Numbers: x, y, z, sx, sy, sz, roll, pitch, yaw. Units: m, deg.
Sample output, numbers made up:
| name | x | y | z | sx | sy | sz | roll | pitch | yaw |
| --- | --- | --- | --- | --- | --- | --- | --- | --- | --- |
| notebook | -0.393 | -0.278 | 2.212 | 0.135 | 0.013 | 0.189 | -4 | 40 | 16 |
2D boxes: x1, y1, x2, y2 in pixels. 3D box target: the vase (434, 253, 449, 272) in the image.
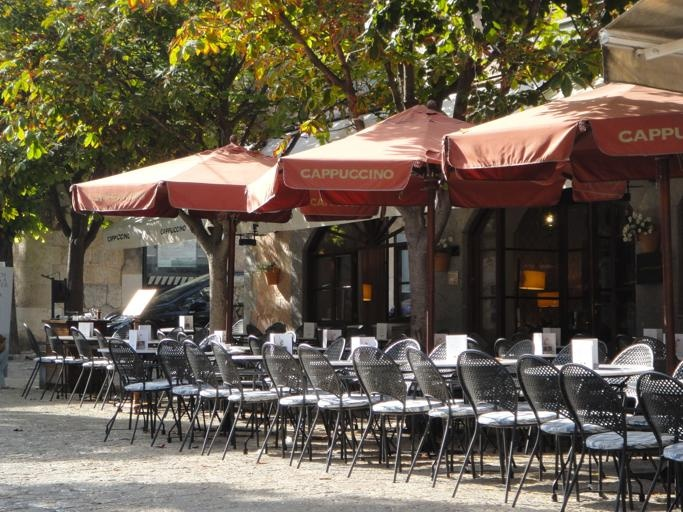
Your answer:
| name | x | y | z | sx | sy | sz | roll | pitch | yaw |
| --- | --- | --- | --- | --- | --- | --- | --- | --- | --- |
| vase | 1.668 | 0.126 | 23.474 | 0.303 | 0.266 | 0.328 | 1 | -10 | -4 |

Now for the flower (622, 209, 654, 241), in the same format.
| name | x | y | z | sx | sy | sz | roll | pitch | yaw |
| --- | --- | --- | --- | --- | --- | --- | --- | --- | --- |
| flower | 4.655 | -0.452 | 21.960 | 0.426 | 0.455 | 0.104 | -14 | -12 | 41 |

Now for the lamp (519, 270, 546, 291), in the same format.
| name | x | y | z | sx | sy | sz | roll | pitch | yaw |
| --- | --- | --- | --- | --- | --- | --- | --- | --- | --- |
| lamp | 3.156 | 0.439 | 23.248 | 0.325 | 0.279 | 0.352 | 1 | -8 | 1 |

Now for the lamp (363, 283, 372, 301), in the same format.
| name | x | y | z | sx | sy | sz | roll | pitch | yaw |
| --- | --- | --- | --- | --- | --- | --- | --- | --- | --- |
| lamp | 0.493 | 0.709 | 26.154 | 0.242 | 0.311 | 0.257 | 1 | 0 | 30 |

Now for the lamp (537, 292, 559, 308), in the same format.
| name | x | y | z | sx | sy | sz | roll | pitch | yaw |
| --- | --- | --- | --- | --- | --- | --- | --- | --- | --- |
| lamp | 3.400 | 0.745 | 23.379 | 0.263 | 0.212 | 0.283 | 1 | -5 | -4 |

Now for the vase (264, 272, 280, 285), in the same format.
| name | x | y | z | sx | sy | sz | roll | pitch | yaw |
| --- | --- | --- | --- | --- | --- | --- | --- | --- | --- |
| vase | -1.350 | 0.476 | 28.011 | 0.229 | 0.193 | 0.240 | 1 | -6 | -18 |
